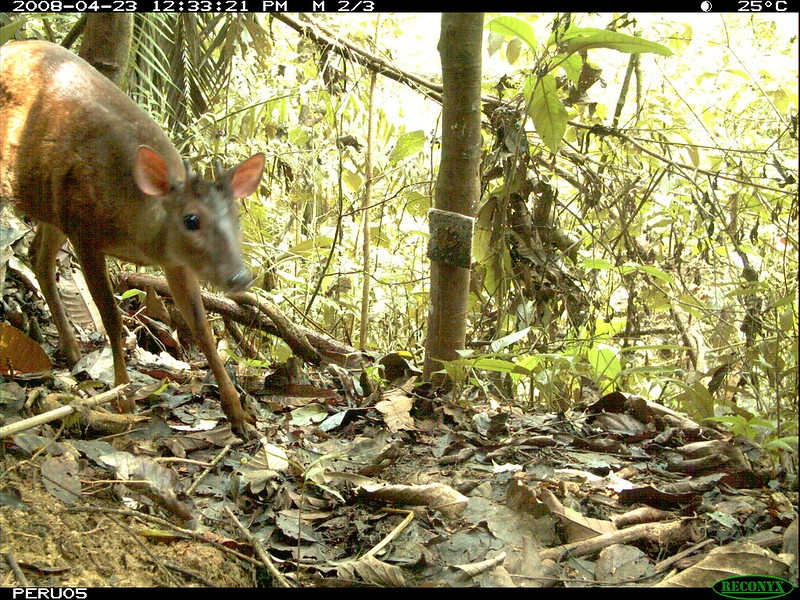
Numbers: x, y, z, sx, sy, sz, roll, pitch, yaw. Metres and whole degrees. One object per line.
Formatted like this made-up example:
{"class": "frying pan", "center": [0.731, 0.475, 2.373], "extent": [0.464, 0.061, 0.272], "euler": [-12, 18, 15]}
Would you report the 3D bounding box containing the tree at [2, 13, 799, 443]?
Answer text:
{"class": "tree", "center": [0.827, -0.695, 4.732], "extent": [3.837, 1.308, 3.779], "euler": [-3, 8, -39]}
